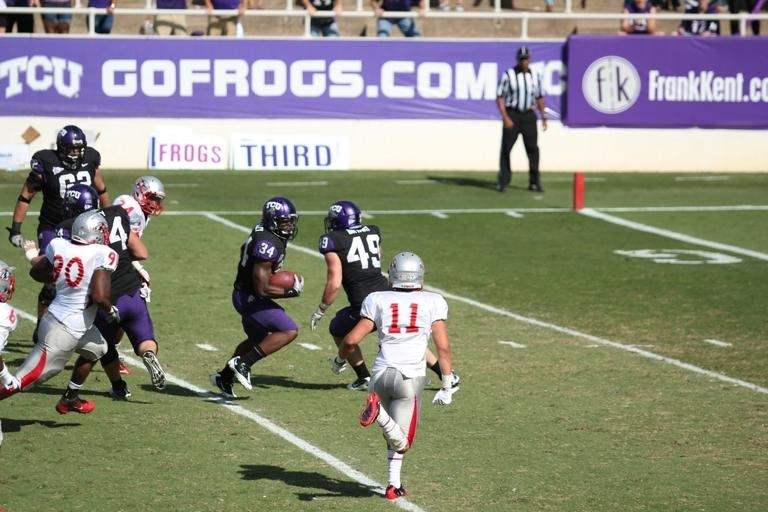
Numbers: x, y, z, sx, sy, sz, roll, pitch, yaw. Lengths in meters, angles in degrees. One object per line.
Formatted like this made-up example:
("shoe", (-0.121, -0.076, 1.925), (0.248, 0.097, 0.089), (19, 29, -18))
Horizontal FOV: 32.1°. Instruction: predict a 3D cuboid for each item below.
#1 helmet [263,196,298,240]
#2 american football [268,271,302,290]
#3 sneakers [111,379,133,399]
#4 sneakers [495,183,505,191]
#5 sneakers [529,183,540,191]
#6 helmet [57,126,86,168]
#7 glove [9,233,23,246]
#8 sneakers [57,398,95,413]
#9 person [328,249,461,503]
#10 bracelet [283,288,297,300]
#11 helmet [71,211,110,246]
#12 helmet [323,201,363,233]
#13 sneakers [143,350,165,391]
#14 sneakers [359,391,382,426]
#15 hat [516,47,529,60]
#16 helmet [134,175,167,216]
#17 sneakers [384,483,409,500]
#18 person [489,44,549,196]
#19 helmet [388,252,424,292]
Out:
("helmet", (-1.365, -0.522, 17.640), (0.583, 0.476, 0.458), (22, 17, 38))
("american football", (-1.278, 0.337, 17.362), (0.337, 0.178, 0.208), (-2, 3, -11))
("sneakers", (-3.538, 1.798, 17.588), (0.434, 0.257, 0.136), (6, -12, -21))
("sneakers", (2.296, -1.367, 26.716), (0.193, 0.116, 0.111), (1, 11, 15))
("sneakers", (2.987, -1.373, 26.711), (0.174, 0.118, 0.121), (-2, 40, -6))
("helmet", (-4.503, -1.609, 19.248), (0.468, 0.546, 0.592), (2, 19, -29))
("glove", (-5.337, -0.224, 19.466), (0.246, 0.199, 0.173), (-9, 3, -10))
("sneakers", (-3.931, 1.950, 17.149), (0.494, 0.172, 0.228), (0, -18, -25))
("person", (0.182, 1.418, 15.980), (1.153, 2.877, 1.336), (-1, 5, -11))
("bracelet", (-1.189, 0.489, 17.366), (0.141, 0.119, 0.236), (4, 6, 35))
("helmet", (-3.686, -0.334, 16.763), (0.449, 0.438, 0.567), (8, 4, 12))
("helmet", (-0.581, -0.533, 18.006), (0.486, 0.351, 0.384), (8, 11, 33))
("sneakers", (-2.921, 1.478, 17.061), (0.280, 0.535, 0.260), (-20, 5, -9))
("sneakers", (-0.139, 1.815, 15.345), (0.250, 0.165, 0.413), (-15, 39, -12))
("hat", (2.629, -3.887, 25.444), (0.215, 0.243, 0.267), (1, 5, 4))
("helmet", (-3.252, -0.834, 18.282), (0.511, 0.436, 0.390), (13, -6, 1))
("sneakers", (0.124, 2.807, 15.700), (0.336, 0.127, 0.110), (-4, 12, -40))
("person", (2.648, -2.650, 26.020), (0.913, 2.808, 1.183), (1, 5, 4))
("helmet", (0.251, 0.173, 16.061), (0.376, 0.365, 0.478), (2, 12, 0))
